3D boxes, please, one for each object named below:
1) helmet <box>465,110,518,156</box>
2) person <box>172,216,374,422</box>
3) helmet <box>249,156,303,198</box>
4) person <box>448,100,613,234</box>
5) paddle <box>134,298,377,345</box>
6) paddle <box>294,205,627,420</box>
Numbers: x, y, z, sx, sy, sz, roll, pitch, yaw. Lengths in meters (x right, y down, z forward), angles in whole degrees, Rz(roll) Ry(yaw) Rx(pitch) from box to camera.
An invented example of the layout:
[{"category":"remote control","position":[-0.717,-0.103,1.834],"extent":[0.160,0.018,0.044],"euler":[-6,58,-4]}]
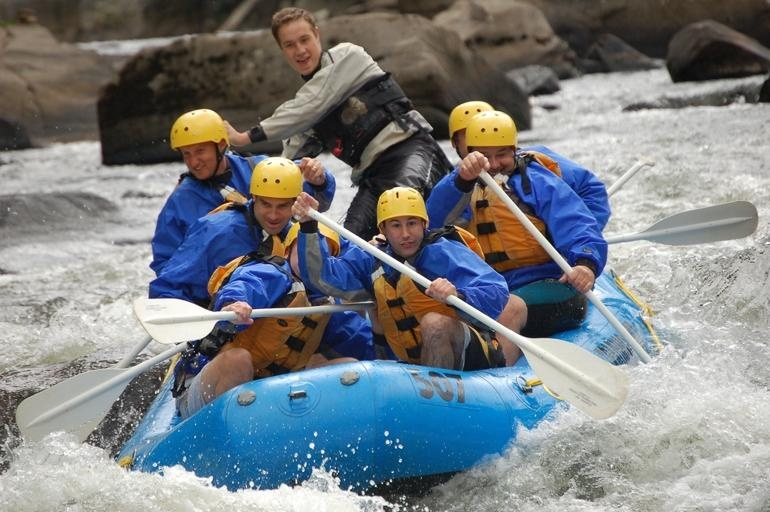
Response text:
[{"category":"helmet","position":[0.956,-1.128,10.118],"extent":[0.457,0.330,0.302],"euler":[-6,23,3]},{"category":"person","position":[-0.945,0.554,9.483],"extent":[1.005,1.460,1.083],"euler":[-12,-35,17]},{"category":"helmet","position":[-0.925,-0.663,9.660],"extent":[0.328,0.299,0.407],"euler":[6,-12,2]},{"category":"person","position":[1.194,-0.682,10.519],"extent":[1.503,0.730,2.215],"euler":[-1,-13,36]},{"category":"paddle","position":[-1.084,0.514,9.389],"extent":[1.917,0.076,0.524],"euler":[-3,24,-10]},{"category":"paddle","position":[0.608,0.529,9.563],"extent":[3.401,0.453,0.216],"euler":[29,-4,11]}]
